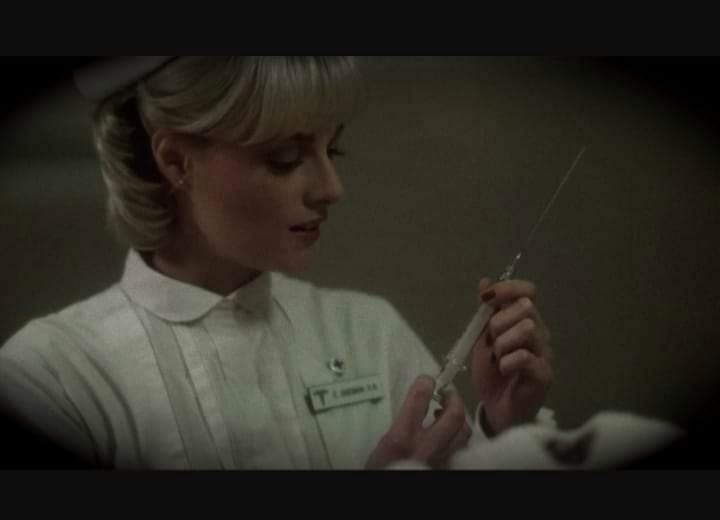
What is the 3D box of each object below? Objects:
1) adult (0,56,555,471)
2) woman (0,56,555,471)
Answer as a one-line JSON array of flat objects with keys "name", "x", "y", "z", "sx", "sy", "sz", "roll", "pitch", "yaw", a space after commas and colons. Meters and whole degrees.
[{"name": "adult", "x": -0.339, "y": 0.017, "z": 3.035, "sx": 1.738, "sy": 1.172, "sz": 0.722, "roll": 0, "pitch": 34, "yaw": -2}, {"name": "woman", "x": -0.338, "y": 0.017, "z": 3.035, "sx": 1.740, "sy": 1.172, "sz": 0.722, "roll": 0, "pitch": 34, "yaw": -2}]
